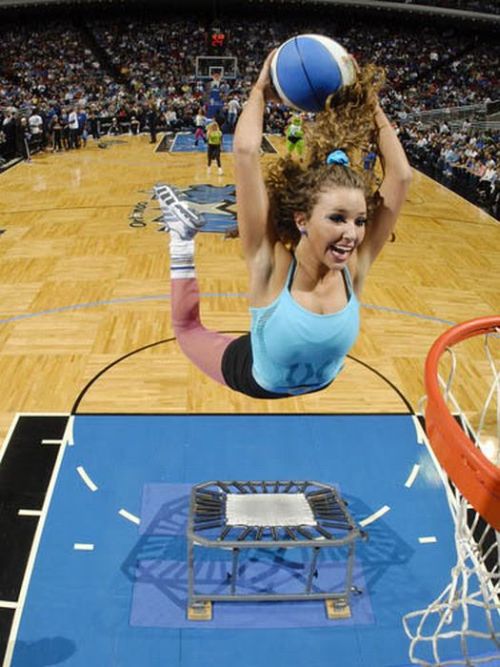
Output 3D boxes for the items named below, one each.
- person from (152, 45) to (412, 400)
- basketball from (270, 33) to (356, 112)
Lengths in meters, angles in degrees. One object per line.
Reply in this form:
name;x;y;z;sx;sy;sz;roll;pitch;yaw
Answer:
person;0.145;-0.319;1.983;0.636;1.348;0.885;-21;39;-30
basketball;0.196;-0.822;1.737;0.262;0.243;0.241;19;15;1
